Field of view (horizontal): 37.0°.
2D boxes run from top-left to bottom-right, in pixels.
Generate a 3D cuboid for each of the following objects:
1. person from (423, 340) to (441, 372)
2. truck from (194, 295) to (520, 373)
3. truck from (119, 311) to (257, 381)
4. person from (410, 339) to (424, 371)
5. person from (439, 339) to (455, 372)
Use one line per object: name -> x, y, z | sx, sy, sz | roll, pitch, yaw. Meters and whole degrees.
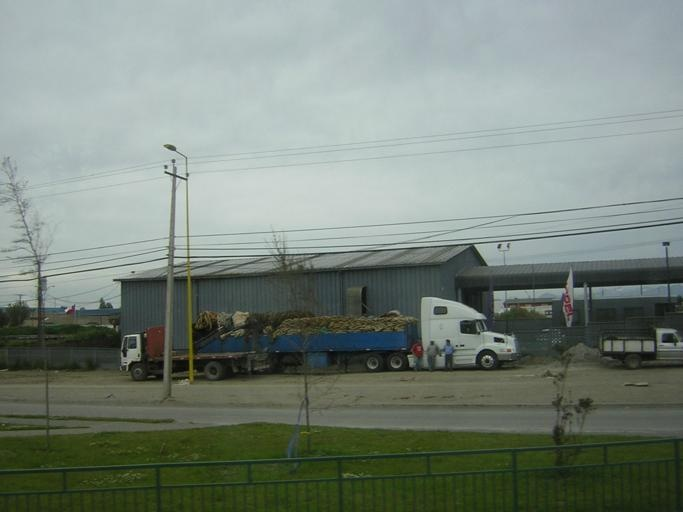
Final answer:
person -> 4.508, 4.933, 50.692 | 0.642, 1.506, 0.778 | -5, -7, 17
truck -> 1.653, 3.973, 53.905 | 15.869, 3.914, 3.633 | -3, 5, 28
truck -> -7.785, 4.663, 52.439 | 7.428, 3.713, 3.244 | 0, -5, 9
person -> 3.795, 5.040, 50.851 | 0.510, 1.328, 0.557 | -3, -7, 3
person -> 5.268, 4.863, 50.460 | 0.629, 1.534, 0.712 | -3, -7, 6
